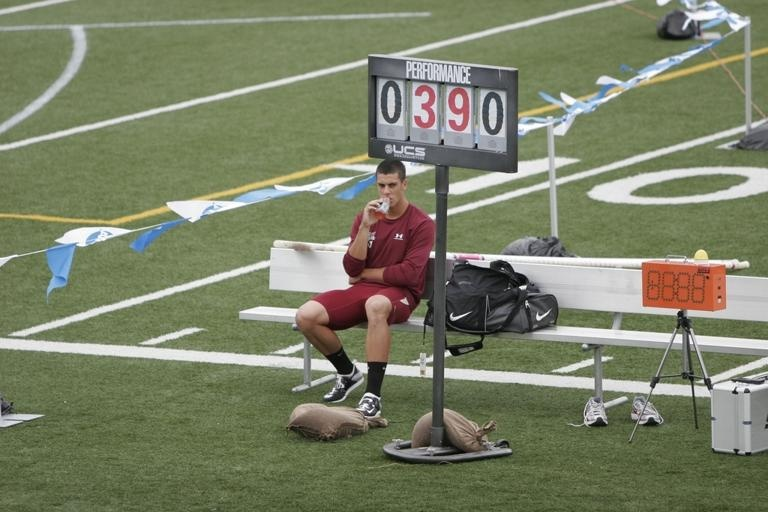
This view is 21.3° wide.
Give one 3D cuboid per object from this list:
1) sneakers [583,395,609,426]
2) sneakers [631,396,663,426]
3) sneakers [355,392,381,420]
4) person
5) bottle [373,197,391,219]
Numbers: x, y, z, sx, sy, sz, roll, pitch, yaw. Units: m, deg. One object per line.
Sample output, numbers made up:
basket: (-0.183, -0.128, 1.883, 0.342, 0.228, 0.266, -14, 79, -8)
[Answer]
sneakers: (2.038, 1.502, 19.836, 0.235, 0.246, 0.255, -4, 15, 5)
sneakers: (2.532, 1.515, 19.747, 0.187, 0.133, 0.370, -3, 1, -13)
sneakers: (-0.153, 1.458, 19.857, 0.288, 0.251, 0.204, -9, 16, -15)
person: (-0.126, 0.457, 20.061, 1.450, 2.000, 0.825, -8, 16, -10)
bottle: (-0.012, -0.468, 19.803, 0.169, 0.088, 0.197, -13, 48, 29)
